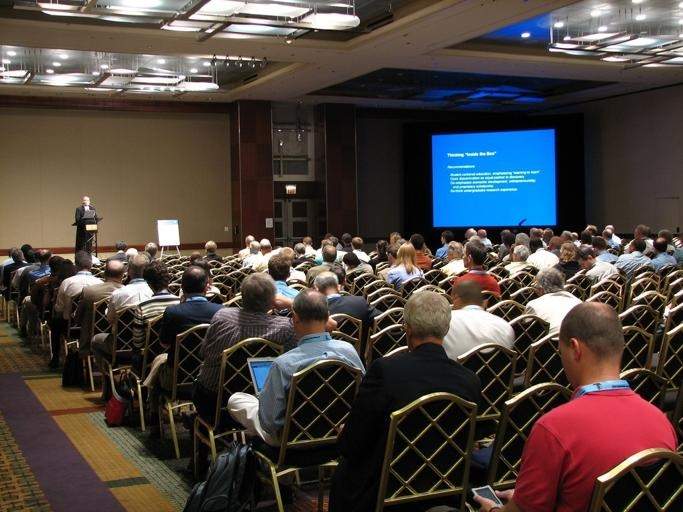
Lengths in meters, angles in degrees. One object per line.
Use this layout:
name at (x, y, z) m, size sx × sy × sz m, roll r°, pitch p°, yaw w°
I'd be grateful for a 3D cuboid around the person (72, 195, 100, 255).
person at (-7.720, -0.892, 15.550) m, size 0.773 × 1.808 × 0.737 m, roll -10°, pitch 35°, yaw -39°

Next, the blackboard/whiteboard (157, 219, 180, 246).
blackboard/whiteboard at (-6.408, -0.879, 18.972) m, size 1.044 × 1.351 × 0.102 m, roll -1°, pitch -11°, yaw -32°
